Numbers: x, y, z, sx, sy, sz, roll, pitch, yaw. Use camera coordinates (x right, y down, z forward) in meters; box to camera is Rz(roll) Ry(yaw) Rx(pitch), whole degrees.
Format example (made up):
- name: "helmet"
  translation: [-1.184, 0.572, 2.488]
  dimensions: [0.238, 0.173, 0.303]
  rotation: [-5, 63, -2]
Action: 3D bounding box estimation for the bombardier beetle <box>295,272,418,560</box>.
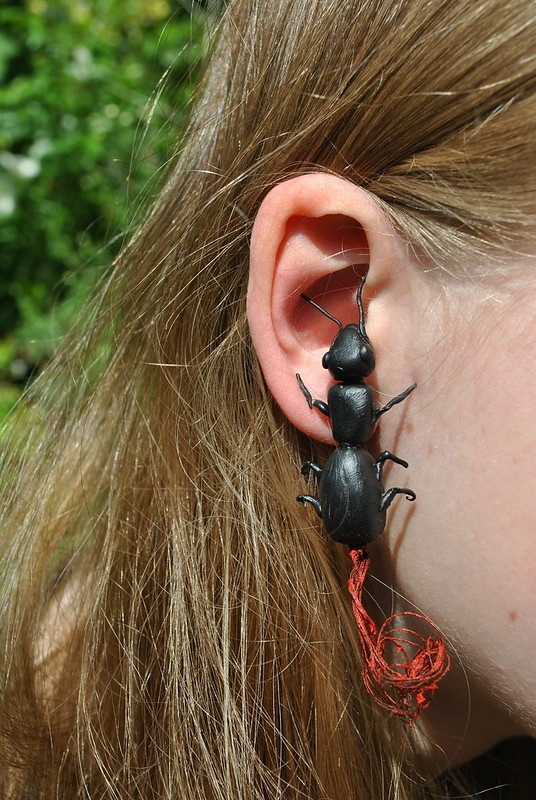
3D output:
- name: "bombardier beetle"
  translation: [0.104, 0.027, 1.005]
  dimensions: [0.162, 0.081, 0.337]
  rotation: [-3, 96, 13]
